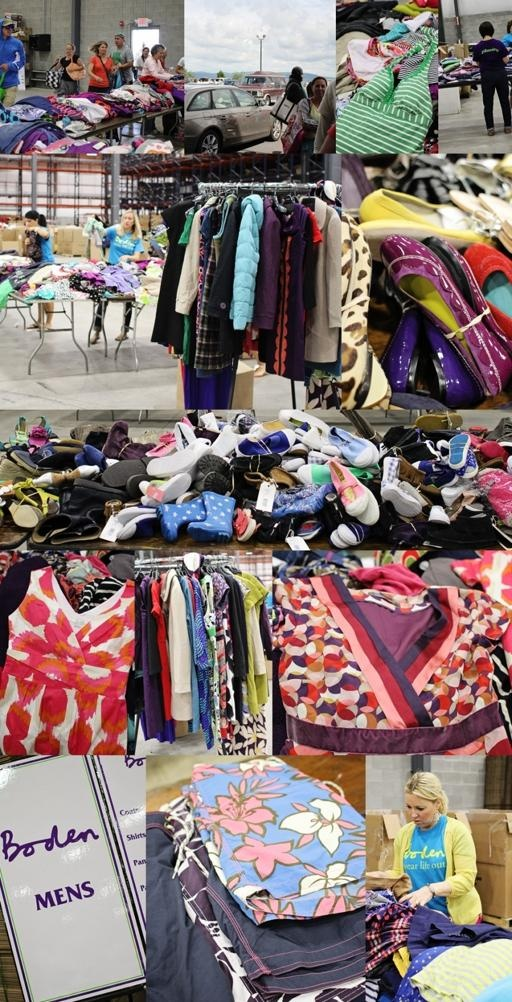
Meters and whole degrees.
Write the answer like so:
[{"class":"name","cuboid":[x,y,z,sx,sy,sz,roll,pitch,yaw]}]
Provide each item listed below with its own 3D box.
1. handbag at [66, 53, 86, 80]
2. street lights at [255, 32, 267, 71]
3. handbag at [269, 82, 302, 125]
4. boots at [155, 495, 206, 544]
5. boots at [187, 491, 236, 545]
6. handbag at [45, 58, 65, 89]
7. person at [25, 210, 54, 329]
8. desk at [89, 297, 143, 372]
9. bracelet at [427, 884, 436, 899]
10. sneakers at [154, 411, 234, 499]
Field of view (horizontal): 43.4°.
[{"class":"handbag","cuboid":[-1.524,-3.642,5.453,0.164,0.216,0.120,-3,12,-1]},{"class":"street lights","cuboid":[0.027,-2.412,3.473,0.027,0.179,0.048,-11,14,-36]},{"class":"handbag","cuboid":[0.169,-2.181,3.541,0.123,0.171,0.070,45,38,5]},{"class":"boots","cuboid":[-0.270,0.057,2.339,0.140,0.060,0.134,-7,56,-17]},{"class":"boots","cuboid":[-0.148,0.070,2.309,0.203,0.112,0.253,5,32,-4]},{"class":"handbag","cuboid":[-1.724,-3.604,5.504,0.233,0.252,0.073,8,15,41]},{"class":"person","cuboid":[-1.833,-1.996,5.477,0.203,1.026,1.028,-6,13,-17]},{"class":"desk","cuboid":[-1.187,-1.403,5.435,0.453,0.546,1.480,-6,14,-13]},{"class":"bracelet","cuboid":[0.429,0.955,1.582,0.018,0.033,0.029,8,39,21]},{"class":"sneakers","cuboid":[-0.258,-0.153,2.673,0.235,0.144,0.433,8,53,33]}]
